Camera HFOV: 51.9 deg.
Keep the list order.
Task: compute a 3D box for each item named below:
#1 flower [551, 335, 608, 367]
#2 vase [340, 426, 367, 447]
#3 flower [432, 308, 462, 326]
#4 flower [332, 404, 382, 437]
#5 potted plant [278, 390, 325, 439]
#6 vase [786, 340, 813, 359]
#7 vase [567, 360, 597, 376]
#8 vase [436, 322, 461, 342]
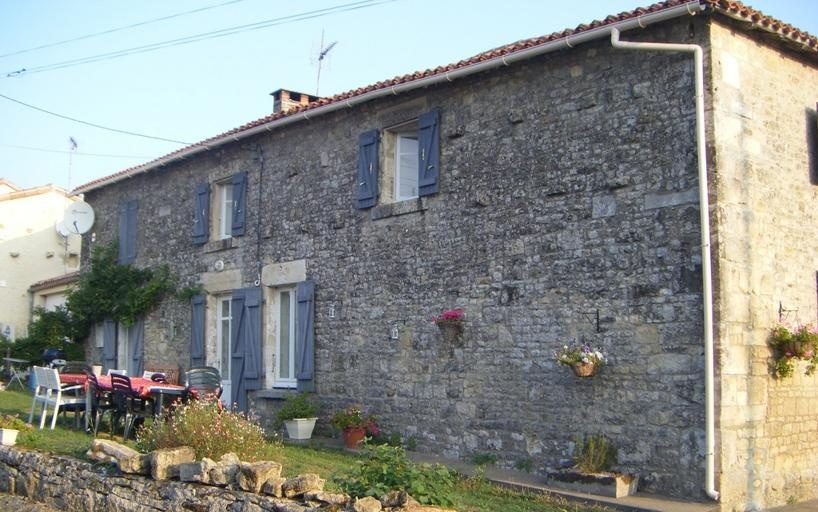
[{"bbox_3d":[2.682,1.524,13.085,0.533,0.311,0.531,-1,3,-29],"label":"flower"},{"bbox_3d":[-0.966,3.190,14.767,0.412,0.352,0.465,-2,10,-4],"label":"vase"},{"bbox_3d":[0.635,1.040,14.378,0.588,0.306,0.238,4,11,26],"label":"flower"},{"bbox_3d":[-0.892,2.950,15.004,0.561,0.423,0.579,0,-5,15],"label":"flower"},{"bbox_3d":[-2.046,3.002,15.753,0.843,0.957,0.748,2,-11,-3],"label":"potted plant"},{"bbox_3d":[6.042,1.455,13.010,0.358,0.198,0.282,3,-2,17],"label":"vase"},{"bbox_3d":[2.728,1.768,13.040,0.422,0.318,0.203,-4,11,-19],"label":"vase"},{"bbox_3d":[0.704,1.285,14.321,0.349,0.263,0.348,0,-7,0],"label":"vase"}]
